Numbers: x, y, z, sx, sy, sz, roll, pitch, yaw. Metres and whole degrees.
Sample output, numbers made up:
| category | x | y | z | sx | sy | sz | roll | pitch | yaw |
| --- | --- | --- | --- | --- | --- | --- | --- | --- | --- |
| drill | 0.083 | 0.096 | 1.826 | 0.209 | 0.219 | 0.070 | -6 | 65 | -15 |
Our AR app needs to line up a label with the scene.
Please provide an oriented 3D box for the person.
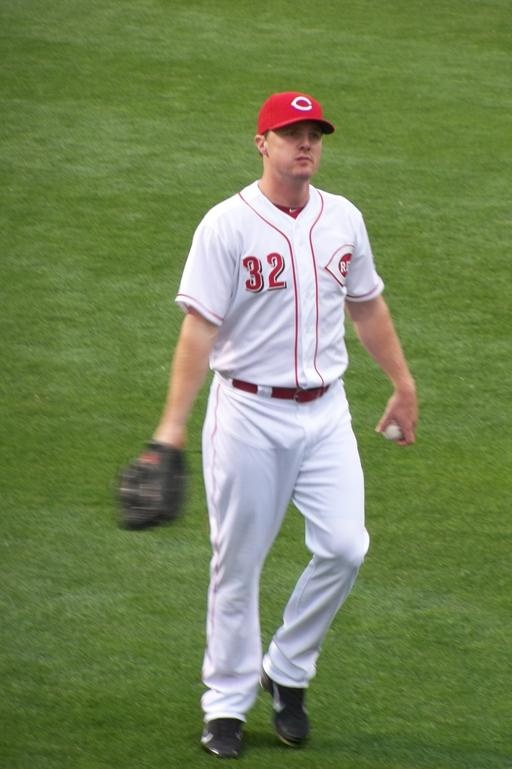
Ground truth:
| category | x | y | z | sx | sy | sz | roll | pitch | yaw |
| --- | --- | --- | --- | --- | --- | --- | --- | --- | --- |
| person | 0.103 | 0.149 | 4.123 | 0.737 | 1.923 | 0.959 | 7 | 29 | 9 |

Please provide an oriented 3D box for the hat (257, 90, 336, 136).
| category | x | y | z | sx | sy | sz | roll | pitch | yaw |
| --- | --- | --- | --- | --- | --- | --- | --- | --- | --- |
| hat | 0.095 | -0.837 | 4.102 | 0.144 | 0.090 | 0.189 | -2 | 6 | -28 |

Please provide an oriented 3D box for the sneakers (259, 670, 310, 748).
| category | x | y | z | sx | sy | sz | roll | pitch | yaw |
| --- | --- | --- | --- | --- | --- | --- | --- | --- | --- |
| sneakers | 0.101 | 1.052 | 4.302 | 0.086 | 0.237 | 0.103 | -5 | -21 | -29 |

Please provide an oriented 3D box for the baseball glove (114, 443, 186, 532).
| category | x | y | z | sx | sy | sz | roll | pitch | yaw |
| --- | --- | --- | --- | --- | --- | --- | --- | --- | --- |
| baseball glove | -0.294 | 0.299 | 3.871 | 0.164 | 0.269 | 0.117 | 3 | 8 | 3 |

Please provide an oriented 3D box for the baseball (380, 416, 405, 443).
| category | x | y | z | sx | sy | sz | roll | pitch | yaw |
| --- | --- | --- | --- | --- | --- | --- | --- | --- | --- |
| baseball | 0.465 | 0.152 | 4.467 | 0.055 | 0.070 | 0.033 | -1 | -8 | 16 |
